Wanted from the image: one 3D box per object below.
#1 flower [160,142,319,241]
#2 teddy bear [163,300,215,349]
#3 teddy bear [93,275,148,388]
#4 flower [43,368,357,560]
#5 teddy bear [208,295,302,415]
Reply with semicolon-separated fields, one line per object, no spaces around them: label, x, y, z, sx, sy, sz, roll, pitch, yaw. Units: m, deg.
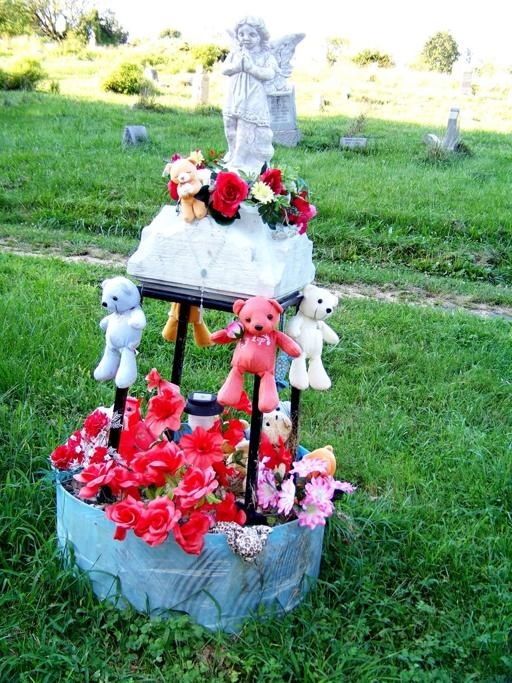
flower;-0.070;-0.484;1.922;0.484;0.243;0.381;14;21;28
teddy bear;-0.254;-0.050;2.198;0.168;0.243;0.285;1;19;-8
teddy bear;-0.419;-0.020;1.830;0.147;0.360;0.246;0;20;-12
flower;-0.203;0.422;1.832;0.619;0.257;0.771;-7;27;-38
teddy bear;-0.021;0.049;1.767;0.278;0.392;0.242;9;20;13
